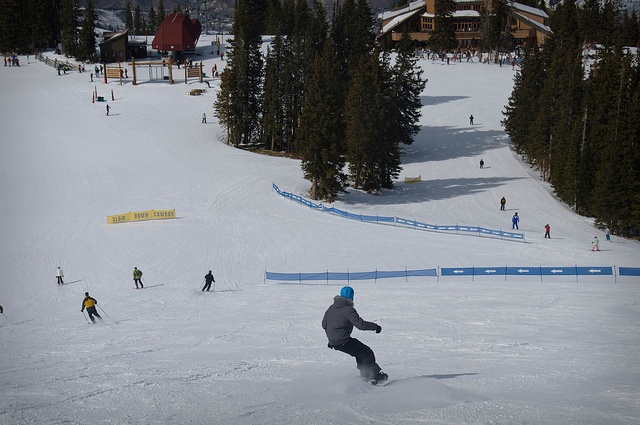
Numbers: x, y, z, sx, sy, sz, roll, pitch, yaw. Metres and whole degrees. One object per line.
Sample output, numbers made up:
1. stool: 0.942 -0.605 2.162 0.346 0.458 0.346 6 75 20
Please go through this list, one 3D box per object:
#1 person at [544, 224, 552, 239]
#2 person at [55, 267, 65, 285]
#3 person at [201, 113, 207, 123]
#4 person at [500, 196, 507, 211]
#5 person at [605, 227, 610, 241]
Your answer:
1. person: 26.878 2.141 96.189 0.743 1.524 2.637 4 10 17
2. person: -27.273 6.657 84.583 0.776 2.543 1.100 -2 13 0
3. person: -18.705 -14.925 129.626 0.964 1.556 2.924 0 10 -10
4. person: 23.239 -1.144 103.733 0.728 1.531 2.512 3 10 12
5. person: 33.824 2.538 95.535 0.578 1.509 2.337 4 10 20
